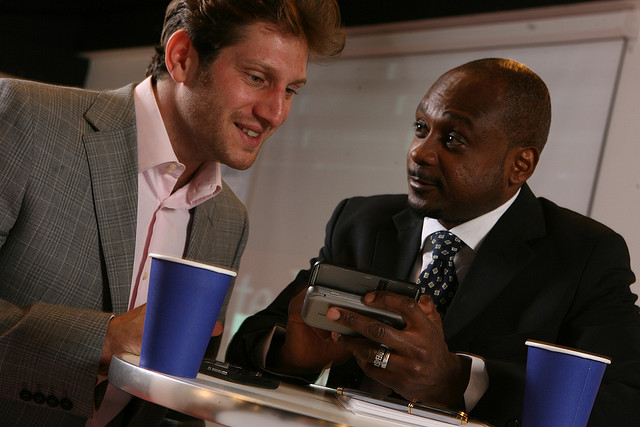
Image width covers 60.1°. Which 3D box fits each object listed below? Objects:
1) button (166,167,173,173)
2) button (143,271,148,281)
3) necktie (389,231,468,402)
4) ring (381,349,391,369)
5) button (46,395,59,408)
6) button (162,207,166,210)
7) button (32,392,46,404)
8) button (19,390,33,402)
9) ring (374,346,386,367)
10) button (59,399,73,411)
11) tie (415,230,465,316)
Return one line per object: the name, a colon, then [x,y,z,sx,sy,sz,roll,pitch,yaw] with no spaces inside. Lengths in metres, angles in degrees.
button: [-0.507,-0.149,1.877,0.018,0.017,0.004,4,10,-3]
button: [-0.563,0.202,1.798,0.004,0.022,0.012,8,-12,35]
necktie: [0.415,0.343,1.919,0.263,0.499,0.125,15,-6,42]
ring: [0.172,0.377,1.436,0.010,0.037,0.039,15,12,10]
button: [-0.701,0.496,1.459,0.033,0.032,0.008,4,2,-5]
button: [-0.530,-0.017,1.891,0.010,0.014,0.010,4,0,-28]
button: [-0.736,0.488,1.459,0.034,0.032,0.004,14,-5,-3]
button: [-0.770,0.481,1.458,0.037,0.034,0.003,14,-5,-2]
ring: [0.157,0.370,1.437,0.034,0.032,0.034,14,-32,9]
button: [-0.664,0.504,1.457,0.036,0.031,0.007,13,-5,7]
tie: [0.395,0.203,1.867,0.196,0.273,0.074,2,-21,21]
